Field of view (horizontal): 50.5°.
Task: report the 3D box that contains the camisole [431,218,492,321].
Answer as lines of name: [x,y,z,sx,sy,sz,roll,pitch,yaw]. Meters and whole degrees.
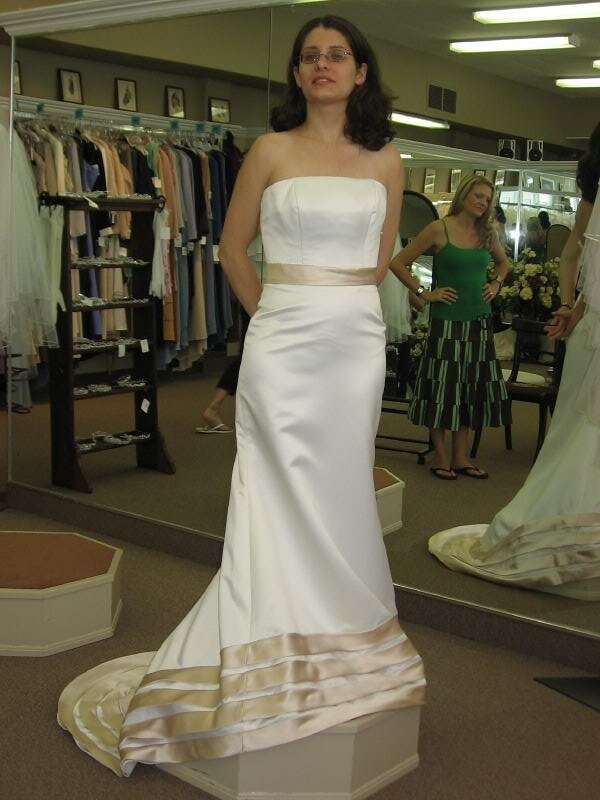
camisole: [0.548,-0.418,2.163,0.218,0.273,0.156,-2,8,-16]

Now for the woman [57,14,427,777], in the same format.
woman: [-0.156,-0.059,1.460,0.833,1.569,0.631,-5,11,-31]

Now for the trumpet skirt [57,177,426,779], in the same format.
trumpet skirt: [-0.170,0.155,1.663,1.003,1.312,0.857,-1,-3,35]
